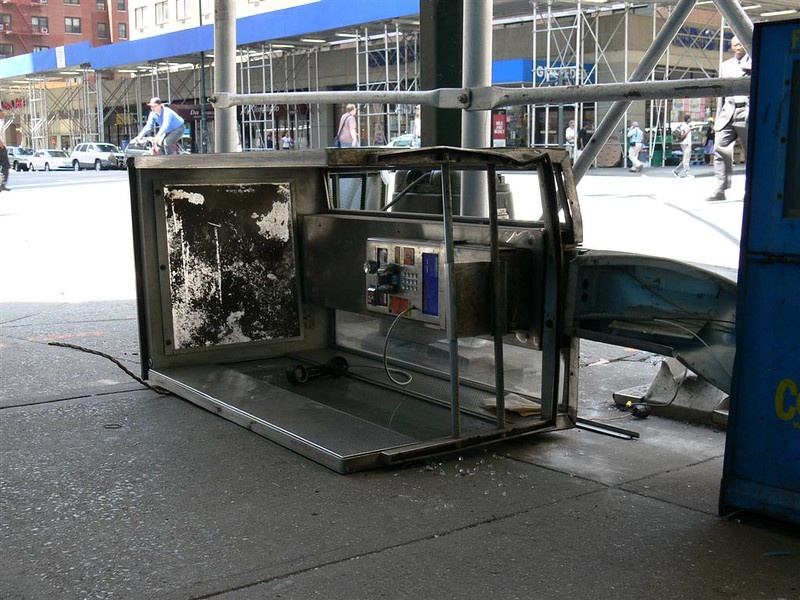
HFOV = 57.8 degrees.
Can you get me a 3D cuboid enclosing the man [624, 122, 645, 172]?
[{"bbox_3d":[9.223,-5.988,28.416,0.635,1.849,2.964,4,12,17],"label":"man"}]
